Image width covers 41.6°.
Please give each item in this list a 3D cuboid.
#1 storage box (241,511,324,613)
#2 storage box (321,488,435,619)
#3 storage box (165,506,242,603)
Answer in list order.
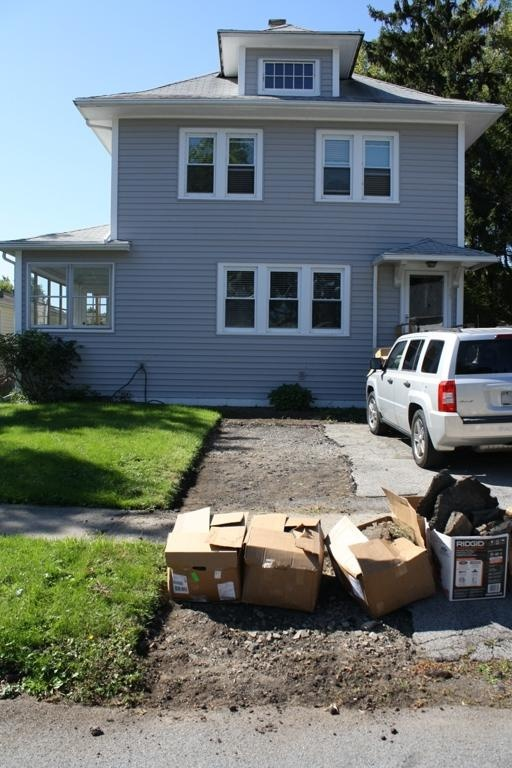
[{"bbox_3d":[0.174,1.024,4.114,0.450,0.333,0.618,8,12,7],"label":"storage box"},{"bbox_3d":[0.753,0.984,4.066,0.617,0.555,0.820,1,5,-2],"label":"storage box"},{"bbox_3d":[-0.297,0.996,4.009,0.389,0.334,0.529,-1,8,1],"label":"storage box"}]
